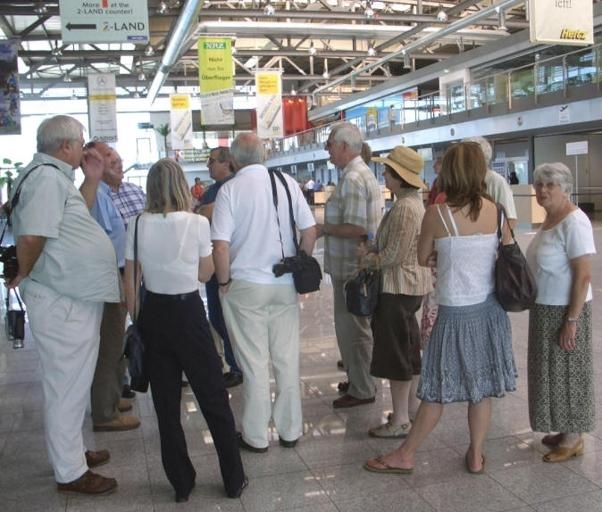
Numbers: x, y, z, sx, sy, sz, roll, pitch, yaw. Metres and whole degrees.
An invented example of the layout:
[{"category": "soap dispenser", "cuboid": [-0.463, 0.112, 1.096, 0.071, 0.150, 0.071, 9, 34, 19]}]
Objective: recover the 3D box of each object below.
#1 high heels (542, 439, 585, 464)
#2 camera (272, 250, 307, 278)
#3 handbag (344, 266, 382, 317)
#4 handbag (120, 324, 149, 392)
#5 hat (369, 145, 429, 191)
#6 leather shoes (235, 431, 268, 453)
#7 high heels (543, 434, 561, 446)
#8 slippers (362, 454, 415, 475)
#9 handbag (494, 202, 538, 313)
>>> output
[{"category": "high heels", "cuboid": [1.370, 1.033, 3.116, 0.246, 0.112, 0.093, -3, -2, -15]}, {"category": "camera", "cuboid": [-0.069, 0.024, 3.157, 0.153, 0.108, 0.062, -10, -16, -4]}, {"category": "handbag", "cuboid": [0.339, 0.143, 3.336, 0.189, 0.364, 0.281, -3, 32, 0]}, {"category": "handbag", "cuboid": [-0.810, 0.484, 2.827, 0.097, 0.304, 0.081, -3, 5, -25]}, {"category": "hat", "cuboid": [0.605, -0.553, 3.418, 0.395, 0.161, 0.358, 32, 22, 24]}, {"category": "leather shoes", "cuboid": [-0.277, 1.049, 3.291, 0.073, 0.089, 0.211, -7, 16, -29]}, {"category": "high heels", "cuboid": [1.380, 1.021, 3.241, 0.090, 0.041, 0.050, 3, 2, -9]}, {"category": "slippers", "cuboid": [0.453, 1.073, 2.997, 0.191, 0.065, 0.100, 4, -4, -1]}, {"category": "handbag", "cuboid": [1.039, 0.008, 2.838, 0.181, 0.518, 0.085, 1, 7, 23]}]
